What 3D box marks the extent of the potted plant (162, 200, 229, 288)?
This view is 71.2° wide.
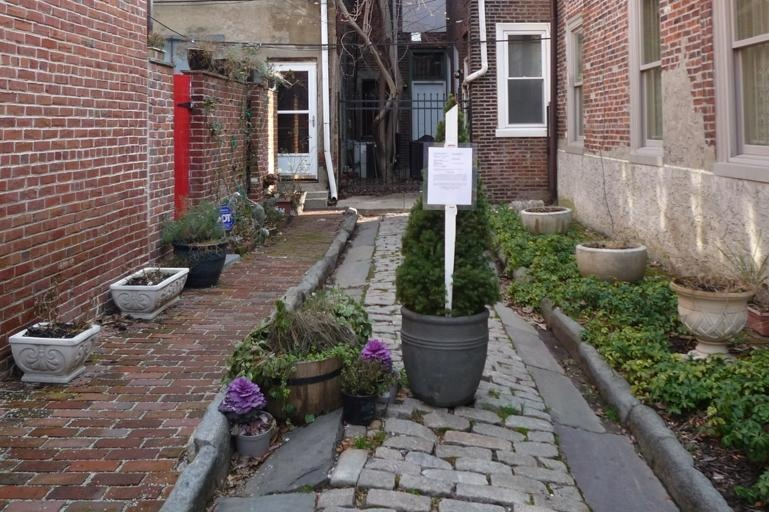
[{"bbox_3d":[-2.641,-0.172,7.787,0.822,0.989,0.703,-3,6,-20],"label":"potted plant"}]

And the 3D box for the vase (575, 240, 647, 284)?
[{"bbox_3d":[3.194,-0.048,7.282,0.809,0.524,0.903,0,28,23],"label":"vase"}]

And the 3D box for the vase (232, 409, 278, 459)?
[{"bbox_3d":[-0.956,1.362,4.066,0.264,0.187,0.264,2,13,1],"label":"vase"}]

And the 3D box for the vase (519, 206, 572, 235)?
[{"bbox_3d":[3.016,-0.673,9.969,0.602,0.343,0.628,-2,8,-10],"label":"vase"}]

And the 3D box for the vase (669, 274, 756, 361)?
[{"bbox_3d":[2.986,0.549,5.019,0.617,0.547,0.657,0,6,-17],"label":"vase"}]

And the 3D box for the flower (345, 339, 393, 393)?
[{"bbox_3d":[-0.135,0.905,4.387,0.369,0.316,0.440,4,14,12],"label":"flower"}]

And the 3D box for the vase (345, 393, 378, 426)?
[{"bbox_3d":[-0.191,1.204,4.333,0.214,0.191,0.257,1,-5,2],"label":"vase"}]

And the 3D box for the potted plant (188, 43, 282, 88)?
[{"bbox_3d":[-3.091,-3.903,10.871,0.766,0.749,2.545,3,15,8],"label":"potted plant"}]

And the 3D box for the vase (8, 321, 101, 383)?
[{"bbox_3d":[-2.941,0.839,4.760,0.430,0.324,0.569,1,0,5],"label":"vase"}]

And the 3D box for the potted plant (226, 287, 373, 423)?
[{"bbox_3d":[-0.735,0.933,4.798,0.994,0.696,1.331,3,3,15],"label":"potted plant"}]

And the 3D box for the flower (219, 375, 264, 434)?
[{"bbox_3d":[-1.045,1.066,4.099,0.319,0.345,0.327,9,13,38],"label":"flower"}]

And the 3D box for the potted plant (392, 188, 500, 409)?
[{"bbox_3d":[0.553,0.361,4.706,0.900,1.781,0.641,1,12,1],"label":"potted plant"}]

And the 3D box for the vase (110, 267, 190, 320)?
[{"bbox_3d":[-2.777,0.407,6.492,0.420,0.316,0.785,6,14,7],"label":"vase"}]
